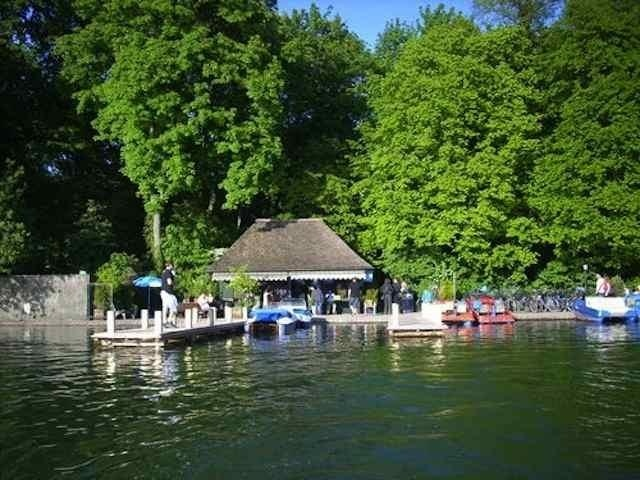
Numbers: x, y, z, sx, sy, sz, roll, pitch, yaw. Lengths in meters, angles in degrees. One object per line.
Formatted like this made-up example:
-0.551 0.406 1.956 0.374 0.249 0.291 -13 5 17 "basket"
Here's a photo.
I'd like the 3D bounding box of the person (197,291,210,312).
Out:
-6.589 3.653 40.429 0.647 1.070 2.133 -2 6 -9 "person"
